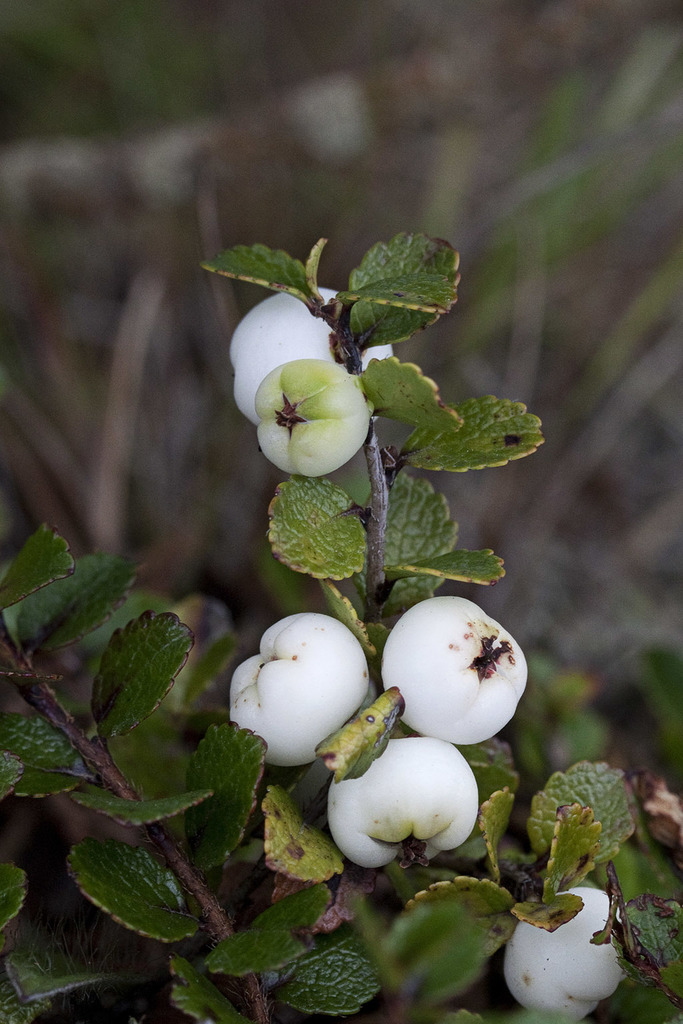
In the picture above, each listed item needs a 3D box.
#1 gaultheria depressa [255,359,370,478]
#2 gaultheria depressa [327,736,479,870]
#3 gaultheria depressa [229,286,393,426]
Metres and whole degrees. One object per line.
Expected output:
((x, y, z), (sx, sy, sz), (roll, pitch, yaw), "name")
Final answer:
((-0.015, -0.042, 0.475), (0.050, 0.054, 0.036), (29, 46, 34), "gaultheria depressa")
((0.028, 0.134, 0.527), (0.080, 0.057, 0.068), (12, 19, -2), "gaultheria depressa")
((-0.011, -0.075, 0.569), (0.089, 0.065, 0.071), (-17, 28, -21), "gaultheria depressa")
